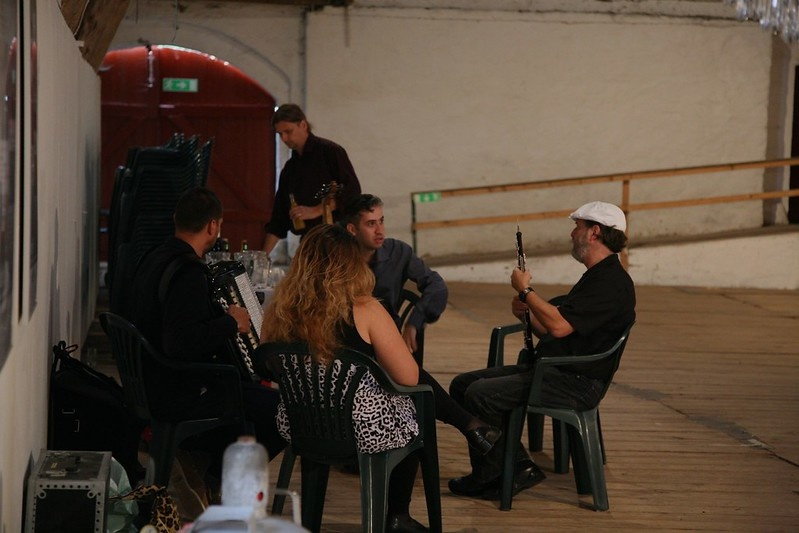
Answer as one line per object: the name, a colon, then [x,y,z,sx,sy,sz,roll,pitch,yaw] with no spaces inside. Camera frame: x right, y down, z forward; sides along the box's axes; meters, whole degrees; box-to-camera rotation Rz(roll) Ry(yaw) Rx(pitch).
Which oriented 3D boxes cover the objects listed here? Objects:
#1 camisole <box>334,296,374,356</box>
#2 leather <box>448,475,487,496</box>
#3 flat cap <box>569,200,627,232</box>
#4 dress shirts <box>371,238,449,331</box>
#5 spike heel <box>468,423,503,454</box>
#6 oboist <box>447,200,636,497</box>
camisole: [-0.316,0.492,10.080,0.284,0.383,0.123,-1,7,-3]
leather: [0.579,1.771,11.101,0.335,0.154,0.139,7,-2,4]
flat cap: [1.645,-0.414,11.119,0.341,0.145,0.250,16,0,14]
dress shirts: [0.083,0.080,11.499,0.716,0.875,0.499,-6,24,-14]
spike heel: [0.658,1.344,10.691,0.146,0.132,0.355,20,-1,12]
oboist: [1.213,0.466,11.508,1.928,2.444,1.468,8,18,19]
